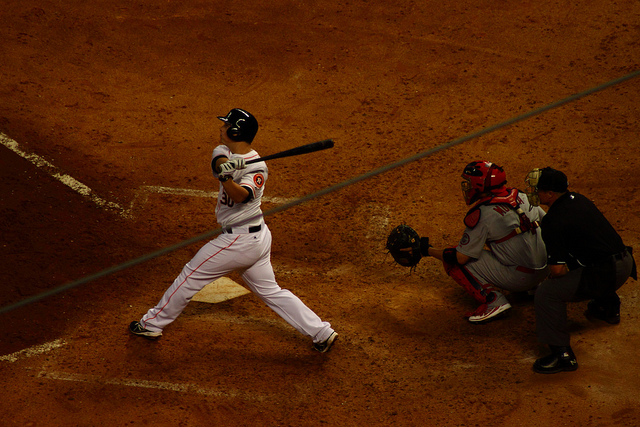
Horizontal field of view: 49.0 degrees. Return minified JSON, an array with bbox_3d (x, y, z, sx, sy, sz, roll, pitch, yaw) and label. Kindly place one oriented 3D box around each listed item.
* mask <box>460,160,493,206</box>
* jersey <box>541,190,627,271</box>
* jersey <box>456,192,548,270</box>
[{"bbox_3d":[2.198,-0.397,9.090,0.665,0.457,0.552,-3,3,40],"label":"mask"},{"bbox_3d":[3.194,0.243,8.547,1.131,0.918,0.676,-35,6,-18],"label":"jersey"},{"bbox_3d":[2.428,0.242,9.316,1.130,0.968,1.176,-1,-2,1],"label":"jersey"}]
